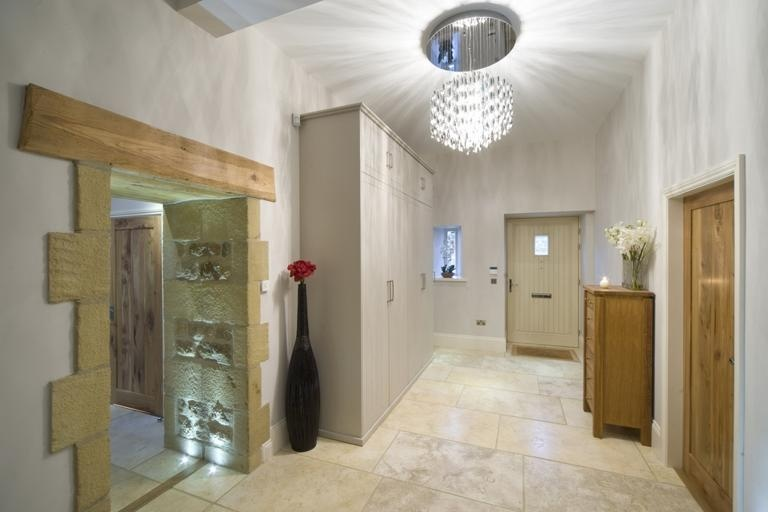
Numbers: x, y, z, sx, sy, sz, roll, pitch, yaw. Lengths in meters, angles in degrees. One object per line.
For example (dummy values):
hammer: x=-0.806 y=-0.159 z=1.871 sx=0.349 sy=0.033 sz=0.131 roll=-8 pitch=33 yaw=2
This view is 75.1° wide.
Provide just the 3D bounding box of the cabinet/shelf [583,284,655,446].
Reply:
cabinet/shelf: x=2.273 y=1.040 z=4.745 sx=0.595 sy=1.407 sz=0.333 roll=4 pitch=14 yaw=17

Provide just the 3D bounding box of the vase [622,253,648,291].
vase: x=2.631 y=0.123 z=5.086 sx=0.157 sy=0.435 sz=0.484 roll=0 pitch=1 yaw=-4

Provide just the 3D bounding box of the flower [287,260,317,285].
flower: x=-0.765 y=0.111 z=4.662 sx=0.219 sy=0.170 sz=0.229 roll=11 pitch=17 yaw=16

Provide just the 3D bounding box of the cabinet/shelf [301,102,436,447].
cabinet/shelf: x=-0.198 y=0.028 z=5.385 sx=0.868 sy=3.174 sz=2.011 roll=6 pitch=15 yaw=23

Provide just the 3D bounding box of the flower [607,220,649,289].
flower: x=2.587 y=-0.013 z=5.130 sx=0.527 sy=0.721 sz=0.613 roll=-2 pitch=-1 yaw=34

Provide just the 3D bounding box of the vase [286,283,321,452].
vase: x=-0.757 y=1.017 z=4.652 sx=0.299 sy=1.530 sz=0.407 roll=0 pitch=13 yaw=2

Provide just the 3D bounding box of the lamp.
lamp: x=0.874 y=-1.794 z=4.975 sx=1.065 sy=1.577 sz=1.121 roll=0 pitch=-12 yaw=0
